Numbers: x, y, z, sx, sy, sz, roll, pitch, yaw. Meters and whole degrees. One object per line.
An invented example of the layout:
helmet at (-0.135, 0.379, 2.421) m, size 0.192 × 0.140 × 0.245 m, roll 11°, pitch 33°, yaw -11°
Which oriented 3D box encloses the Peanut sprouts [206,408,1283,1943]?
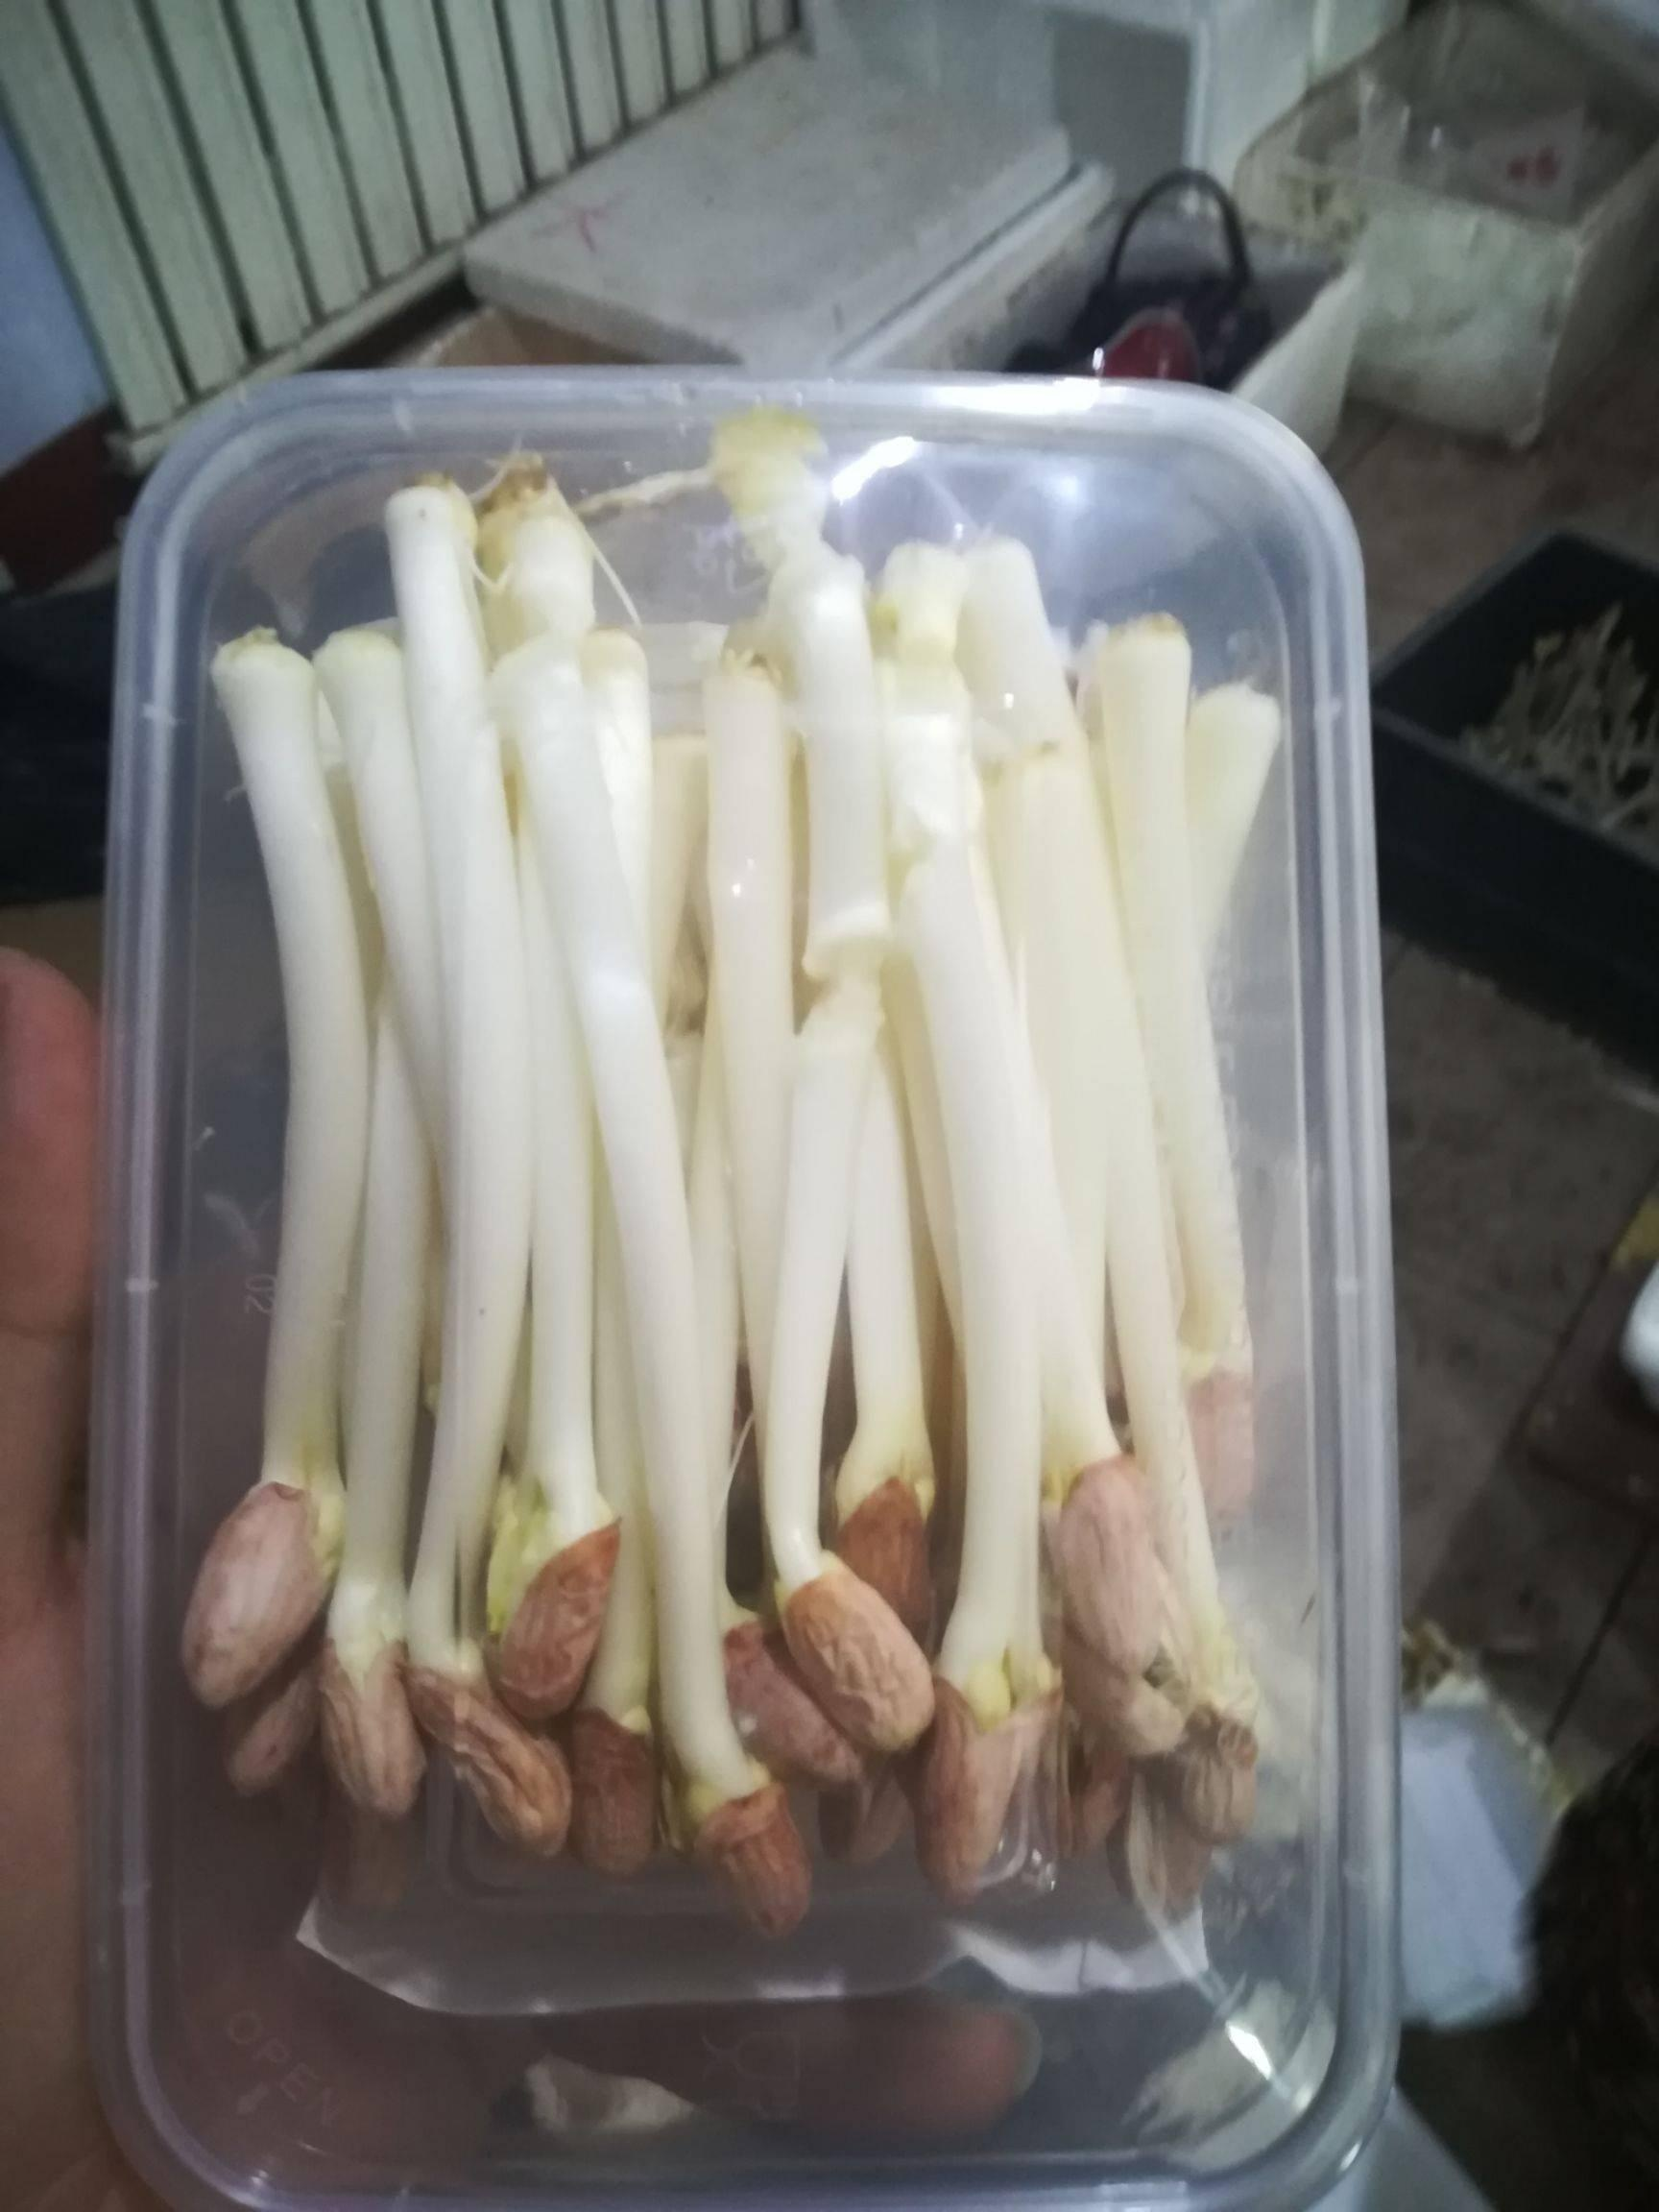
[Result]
Peanut sprouts at (-0.035, 0.034, 0.565) m, size 0.298 × 0.127 × 0.411 m, roll 4°, pitch 87°, yaw -5°
